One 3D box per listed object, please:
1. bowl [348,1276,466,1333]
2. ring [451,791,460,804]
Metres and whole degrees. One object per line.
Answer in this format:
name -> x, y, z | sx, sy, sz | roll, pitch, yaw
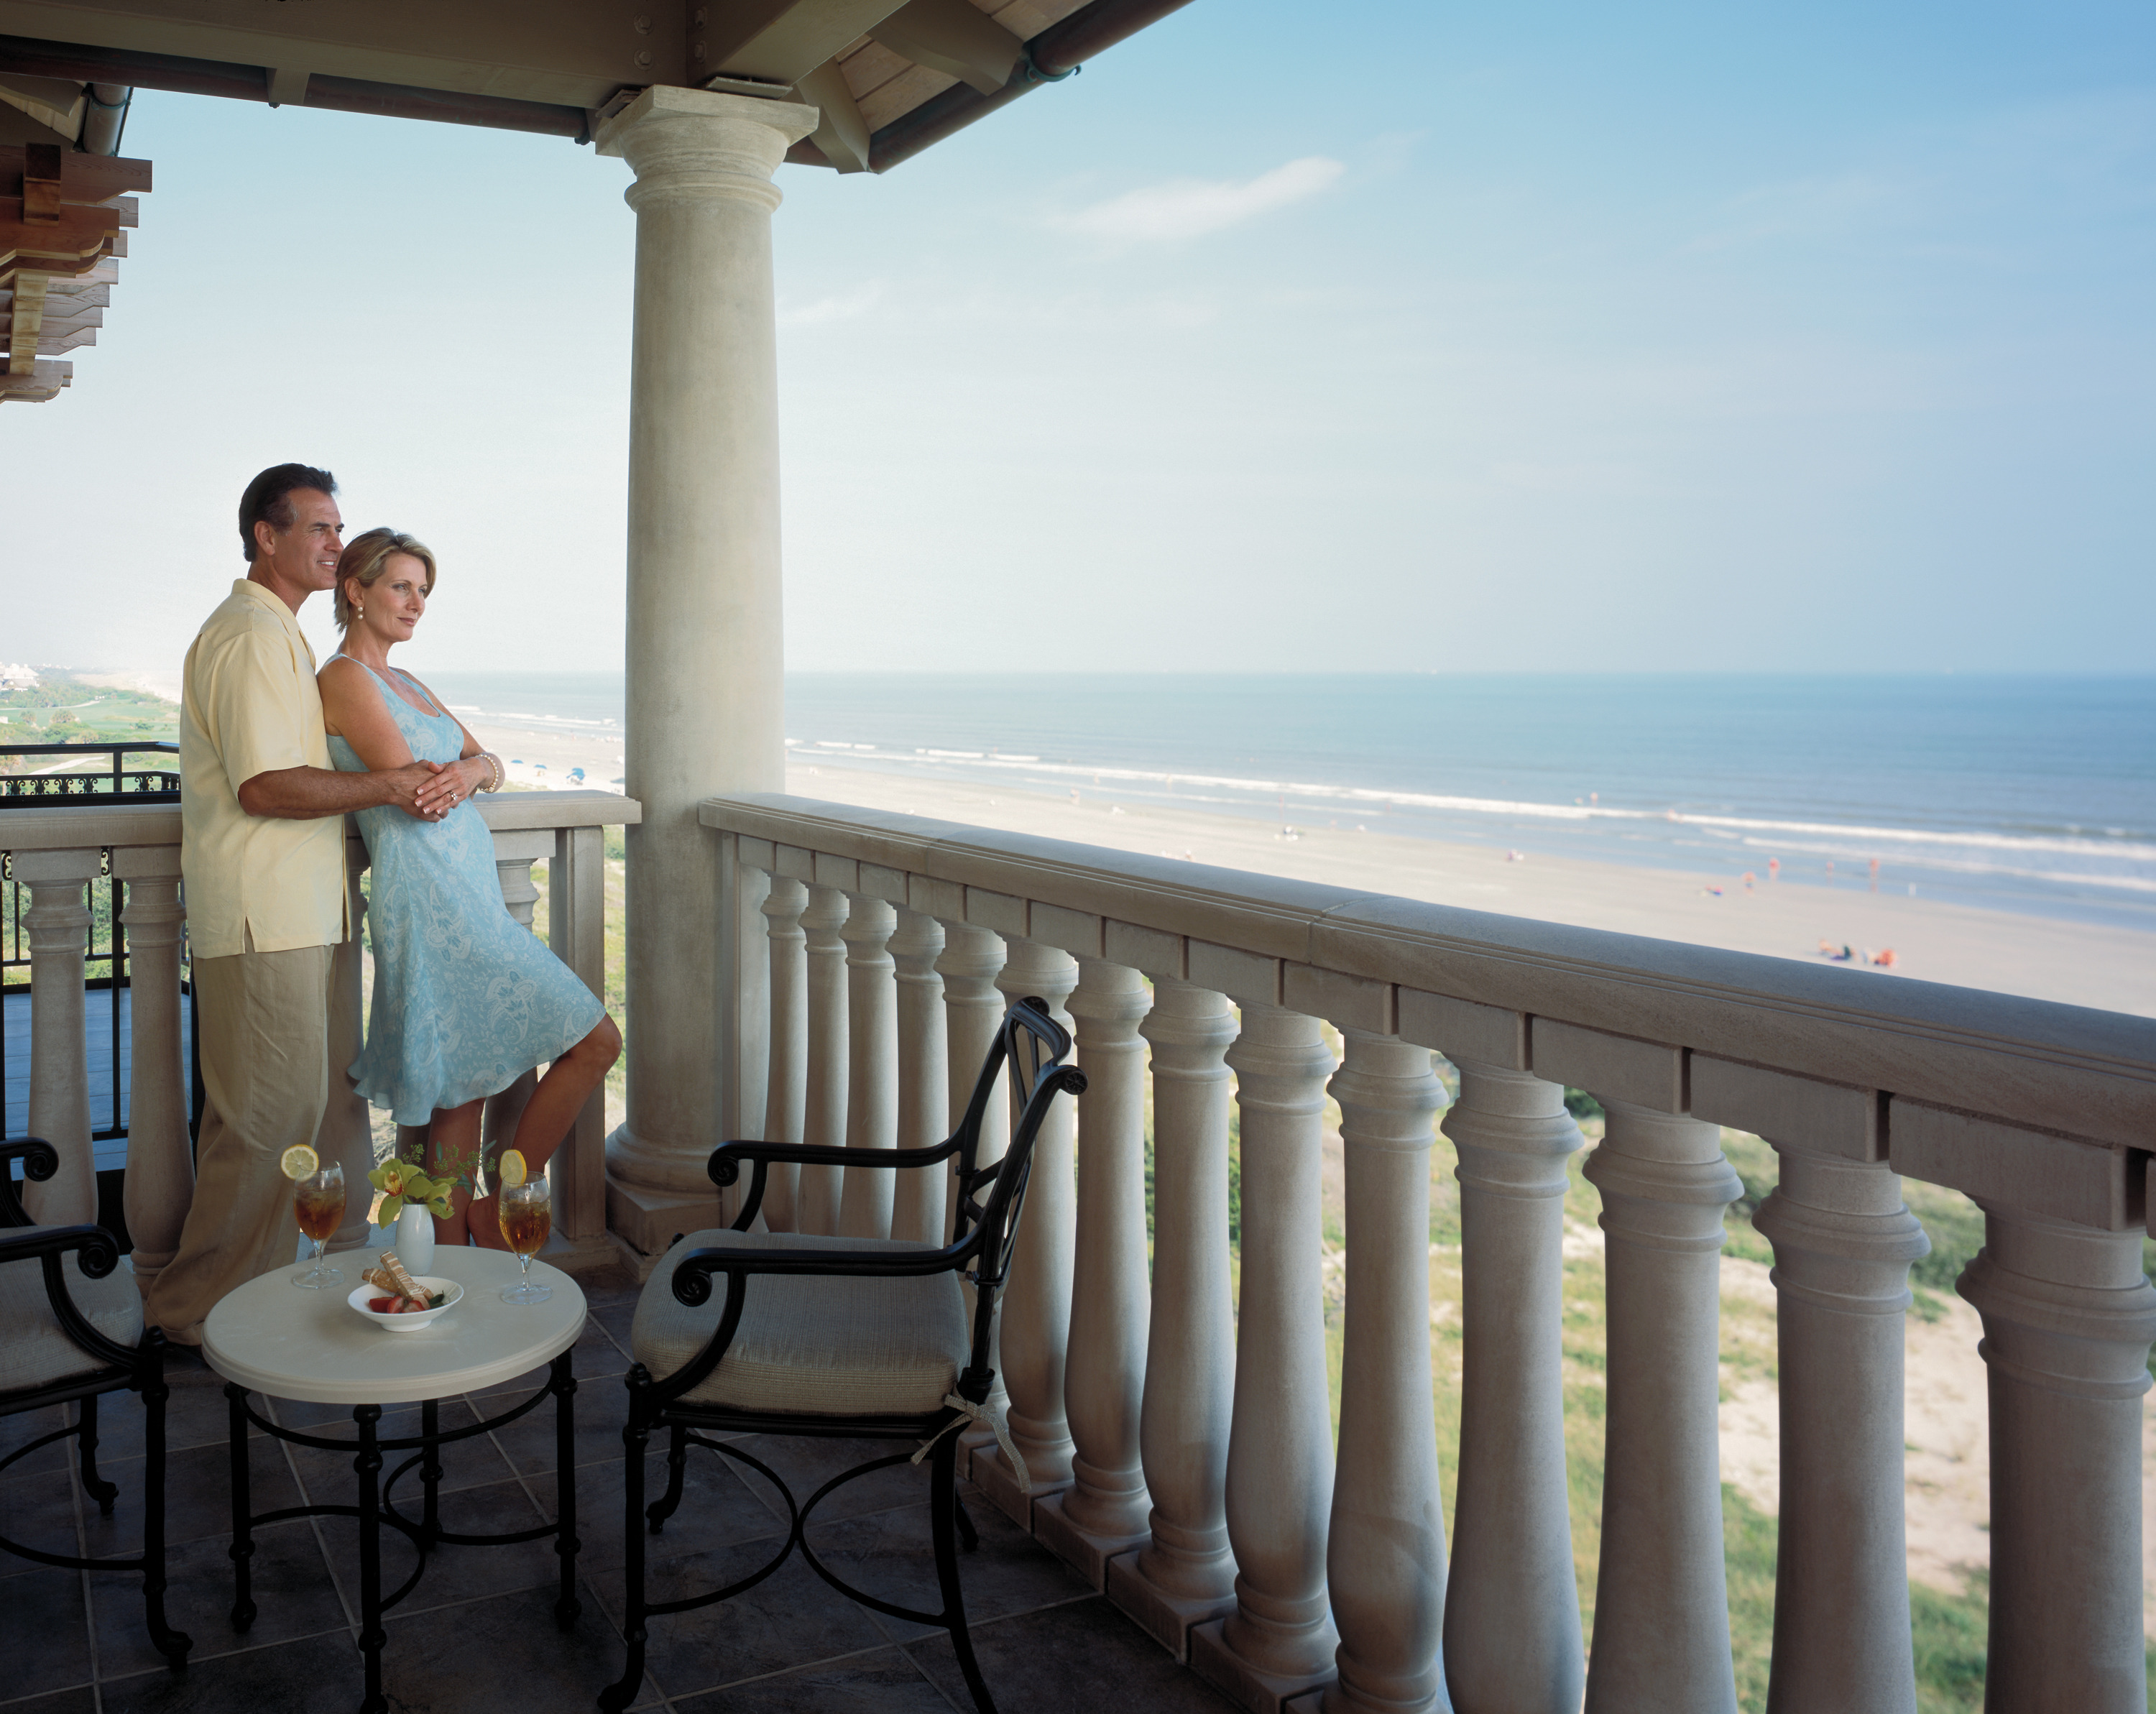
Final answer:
bowl -> -1.073, 0.706, 2.706 | 0.171, 0.048, 0.182 | -1, 9, 0
ring -> -1.374, -0.127, 3.759 | 0.016, 0.016, 0.005 | 9, -32, 22
